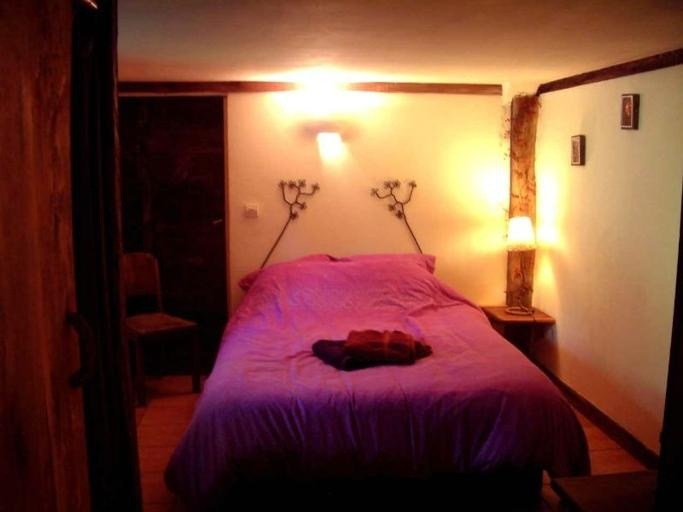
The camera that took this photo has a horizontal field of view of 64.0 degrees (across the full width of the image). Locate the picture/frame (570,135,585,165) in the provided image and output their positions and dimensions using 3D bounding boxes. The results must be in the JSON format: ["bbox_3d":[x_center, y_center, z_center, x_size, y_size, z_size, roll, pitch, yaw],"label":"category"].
[{"bbox_3d":[1.613,-0.718,3.719,0.042,0.201,0.138,-3,10,-14],"label":"picture/frame"}]

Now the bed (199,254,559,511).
[{"bbox_3d":[0.044,0.665,3.031,1.831,0.771,1.708,-4,11,-14],"label":"bed"}]

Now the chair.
[{"bbox_3d":[-1.304,0.477,3.976,0.482,0.976,0.705,-5,11,-22],"label":"chair"}]
